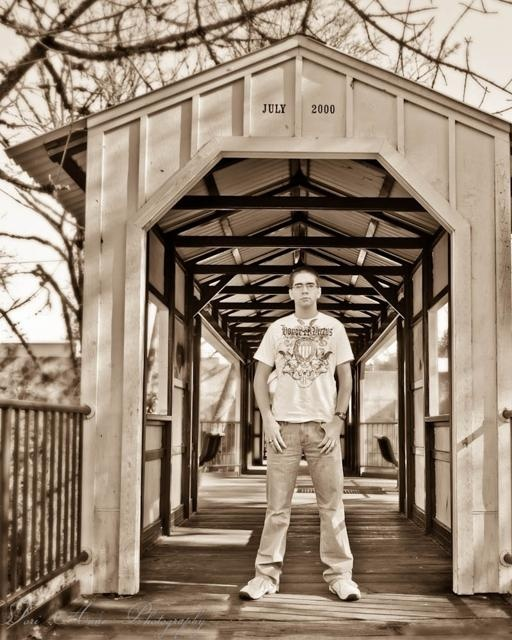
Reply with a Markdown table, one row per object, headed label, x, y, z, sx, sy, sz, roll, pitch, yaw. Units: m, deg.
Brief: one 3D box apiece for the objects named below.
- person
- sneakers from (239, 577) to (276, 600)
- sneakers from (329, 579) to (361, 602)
| label | x | y | z | sx | sy | sz | roll | pitch | yaw |
| --- | --- | --- | --- | --- | --- | --- | --- | --- | --- |
| person | 0.242 | 0.599 | 4.432 | 0.602 | 1.722 | 0.365 | 0 | -11 | 5 |
| sneakers | 0.018 | 1.419 | 4.436 | 0.080 | 0.103 | 0.226 | -15 | -15 | 14 |
| sneakers | 0.468 | 1.426 | 4.392 | 0.124 | 0.110 | 0.206 | 3 | -14 | -7 |
